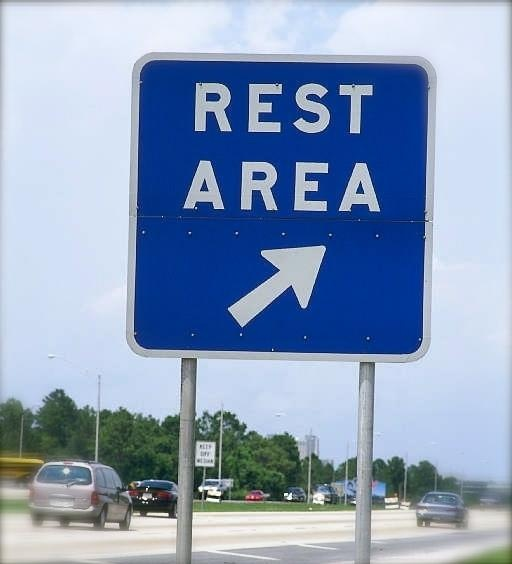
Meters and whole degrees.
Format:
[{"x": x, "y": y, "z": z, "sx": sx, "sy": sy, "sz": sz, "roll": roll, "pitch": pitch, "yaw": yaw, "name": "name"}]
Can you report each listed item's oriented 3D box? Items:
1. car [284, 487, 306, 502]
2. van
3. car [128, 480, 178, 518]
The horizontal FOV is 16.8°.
[{"x": 2.262, "y": 11.325, "z": 92.129, "sx": 1.038, "sy": 0.788, "sz": 2.595, "roll": 5, "pitch": -7, "yaw": 6, "name": "car"}, {"x": -3.204, "y": 3.934, "z": 32.522, "sx": 1.062, "sy": 1.082, "sz": 2.593, "roll": 0, "pitch": -4, "yaw": 10, "name": "van"}, {"x": -2.472, "y": 5.268, "z": 42.283, "sx": 1.149, "sy": 0.867, "sz": 1.674, "roll": 6, "pitch": -6, "yaw": -5, "name": "car"}]
